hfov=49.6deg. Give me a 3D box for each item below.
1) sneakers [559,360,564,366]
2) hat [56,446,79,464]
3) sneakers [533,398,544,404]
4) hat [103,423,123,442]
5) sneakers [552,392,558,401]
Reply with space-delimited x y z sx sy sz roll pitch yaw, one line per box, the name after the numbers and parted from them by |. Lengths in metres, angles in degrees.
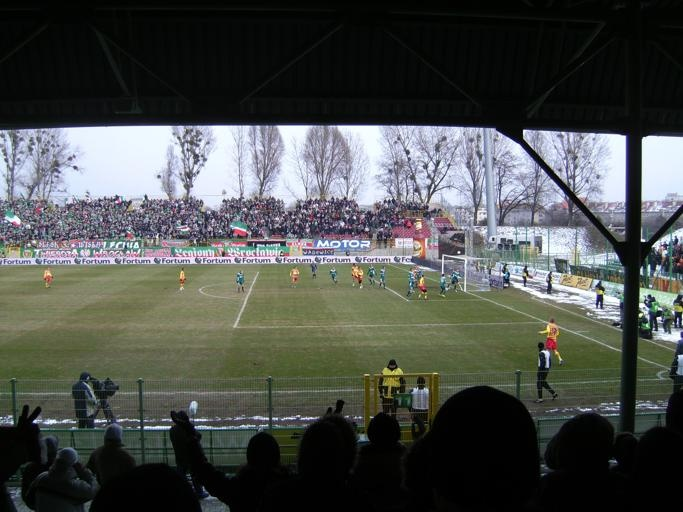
6.044 2.889 20.241 0.099 0.136 0.308 3 11 3 | sneakers
-2.753 1.989 7.425 0.154 0.128 0.222 1 3 -24 | hat
4.583 3.321 17.062 0.169 0.110 0.222 1 2 13 | sneakers
-2.661 2.051 8.618 0.162 0.207 0.224 3 1 -21 | hat
4.971 3.244 17.145 0.112 0.077 0.164 8 4 16 | sneakers
